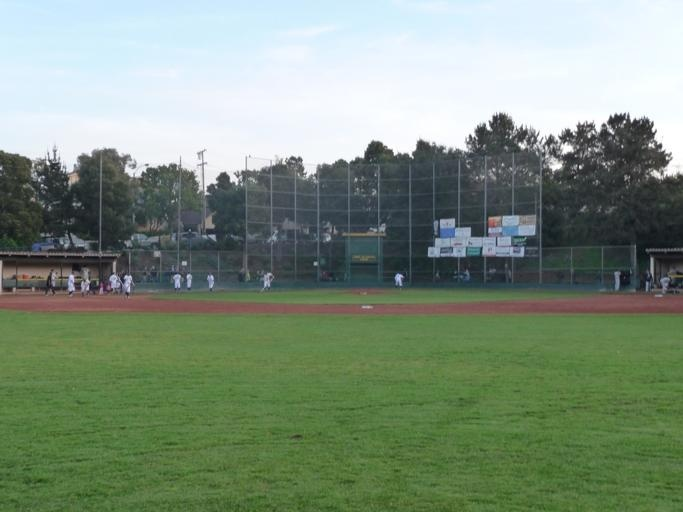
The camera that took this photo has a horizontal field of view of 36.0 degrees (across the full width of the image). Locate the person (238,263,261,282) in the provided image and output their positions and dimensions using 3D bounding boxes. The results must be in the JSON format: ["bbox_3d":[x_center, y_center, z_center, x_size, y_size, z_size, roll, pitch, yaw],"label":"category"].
[{"bbox_3d":[-6.311,1.103,71.154,1.201,0.904,1.146,2,-1,-15],"label":"person"}]

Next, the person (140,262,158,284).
[{"bbox_3d":[-13.045,1.151,70.999,1.193,0.985,1.488,3,14,13],"label":"person"}]
